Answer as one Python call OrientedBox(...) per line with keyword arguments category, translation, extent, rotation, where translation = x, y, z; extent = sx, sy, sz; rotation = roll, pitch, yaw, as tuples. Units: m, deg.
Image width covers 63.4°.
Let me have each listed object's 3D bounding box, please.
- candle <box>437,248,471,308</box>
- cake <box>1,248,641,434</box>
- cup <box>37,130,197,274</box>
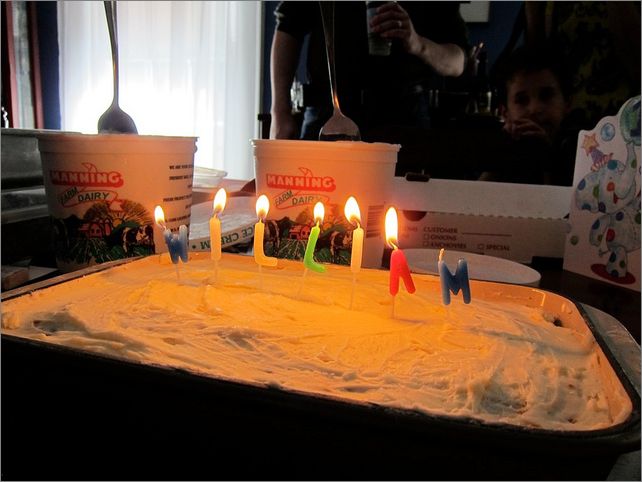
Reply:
OrientedBox(category="candle", translation=(0.281, 0.083, 1.097), extent=(0.092, 0.169, 0.019), rotation=(-9, 19, -7))
OrientedBox(category="cake", translation=(-0.022, 0.156, 0.959), extent=(1.018, 0.124, 0.545), rotation=(5, 14, 21))
OrientedBox(category="cup", translation=(-0.463, -0.095, 1.292), extent=(0.343, 0.266, 0.309), rotation=(0, 6, -9))
